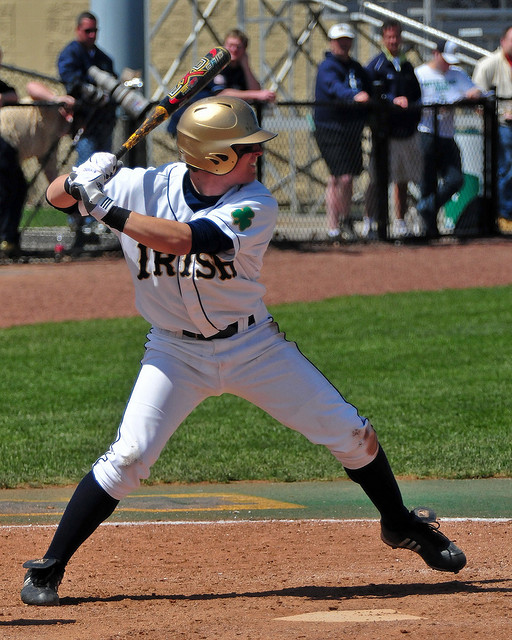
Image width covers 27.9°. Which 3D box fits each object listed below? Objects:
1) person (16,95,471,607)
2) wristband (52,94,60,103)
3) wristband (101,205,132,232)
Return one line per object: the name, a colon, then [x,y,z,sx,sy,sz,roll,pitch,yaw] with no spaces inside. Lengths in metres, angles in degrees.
person: [-0.091,0.100,3.179,1.185,1.583,0.583,2,6,8]
wristband: [-1.811,-1.961,9.219,0.023,0.088,0.090,37,-47,-23]
wristband: [-0.405,-0.293,2.956,0.067,0.063,0.079,44,1,-26]
